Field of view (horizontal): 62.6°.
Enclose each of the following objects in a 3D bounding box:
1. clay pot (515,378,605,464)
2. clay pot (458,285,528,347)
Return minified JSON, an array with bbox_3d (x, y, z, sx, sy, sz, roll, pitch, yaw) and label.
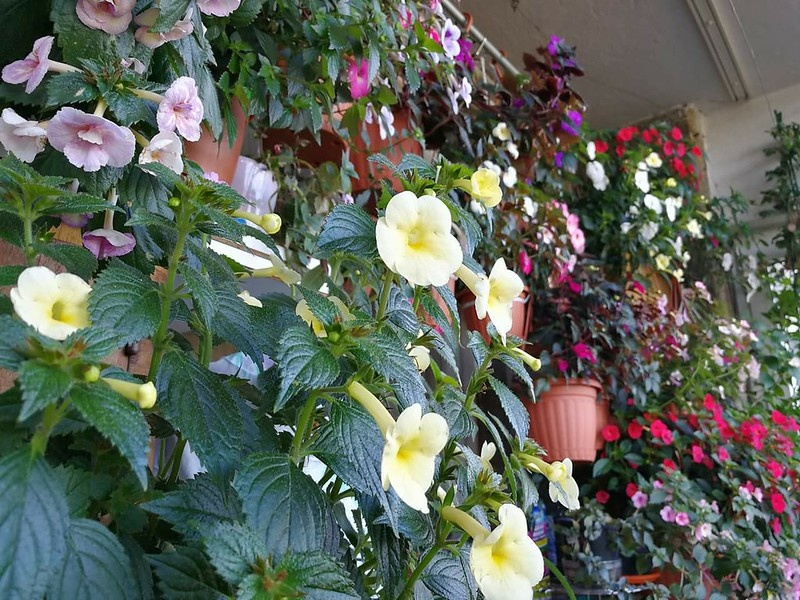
[{"bbox_3d":[0.494,0.384,2.104,0.246,0.252,0.278,2,-33,-1],"label":"clay pot"},{"bbox_3d":[0.272,0.069,1.951,0.157,0.147,0.166,-2,-11,0],"label":"clay pot"}]
